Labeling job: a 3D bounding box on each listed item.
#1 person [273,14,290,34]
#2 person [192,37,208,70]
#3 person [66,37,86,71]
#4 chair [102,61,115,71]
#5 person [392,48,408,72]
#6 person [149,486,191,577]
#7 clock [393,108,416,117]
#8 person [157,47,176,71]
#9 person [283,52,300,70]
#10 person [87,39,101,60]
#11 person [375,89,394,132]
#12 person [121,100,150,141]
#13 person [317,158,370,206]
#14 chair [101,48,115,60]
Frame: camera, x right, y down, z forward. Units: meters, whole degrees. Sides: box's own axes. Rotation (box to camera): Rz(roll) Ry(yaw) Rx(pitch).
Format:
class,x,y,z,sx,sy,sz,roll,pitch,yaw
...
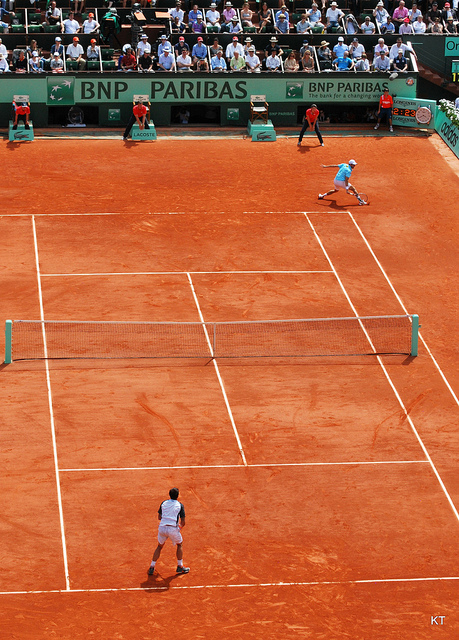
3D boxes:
class,x,y,z,sx,sy,sz,roll,pitch,yaw
person,2.035,-11.663,36.043,0.548,0.791,0.843,-1,15,-3
person,-1.171,-10.051,34.489,0.552,1.196,1.085,3,16,10
person,-5.665,-9.813,33.693,0.680,1.198,1.117,-3,15,-9
chair,-4.423,-9.323,33.663,0.428,0.217,0.372,-1,14,-2
person,6.483,-9.891,34.907,0.558,0.846,0.966,3,15,9
person,-0.903,3.113,13.635,0.614,1.358,0.500,-1,17,-3
clock,6.541,-7.841,34.554,0.930,0.321,0.059,13,21,42
person,-2.329,-9.657,33.842,0.660,0.859,0.790,-1,15,-4
person,2.318,-9.823,34.688,0.618,0.647,1.087,1,14,3
person,-5.052,-10.048,33.964,0.466,0.735,0.391,-8,18,-24
person,5.824,-7.862,34.436,0.707,1.518,0.813,2,16,7
person,-3.294,-7.119,32.626,0.939,1.333,1.242,-4,16,-12
person,3.472,-4.250,27.991,1.641,1.240,0.460,11,21,23
chair,-4.616,-10.014,34.404,0.433,0.428,0.420,-2,15,-7
